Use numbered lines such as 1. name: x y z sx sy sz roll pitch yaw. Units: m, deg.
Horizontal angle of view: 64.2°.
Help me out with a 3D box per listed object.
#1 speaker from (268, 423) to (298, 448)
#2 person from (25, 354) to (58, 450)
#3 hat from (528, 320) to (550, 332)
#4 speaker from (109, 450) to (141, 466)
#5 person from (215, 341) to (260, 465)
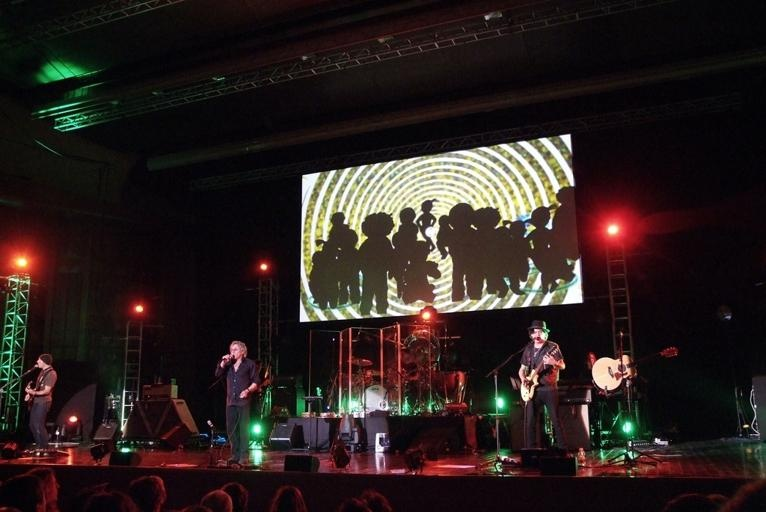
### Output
1. speaker: -2.236 4.014 13.763 0.627 0.620 0.344 -3 -16 15
2. person: -7.182 2.980 12.768 0.511 2.040 1.238 8 -19 -28
3. hat: 2.691 1.188 10.652 0.520 0.224 0.620 -1 -9 19
4. speaker: -4.099 3.235 9.883 0.339 0.220 0.335 0 -9 13
5. person: -2.559 2.504 10.675 0.687 2.073 0.684 4 -17 -14
